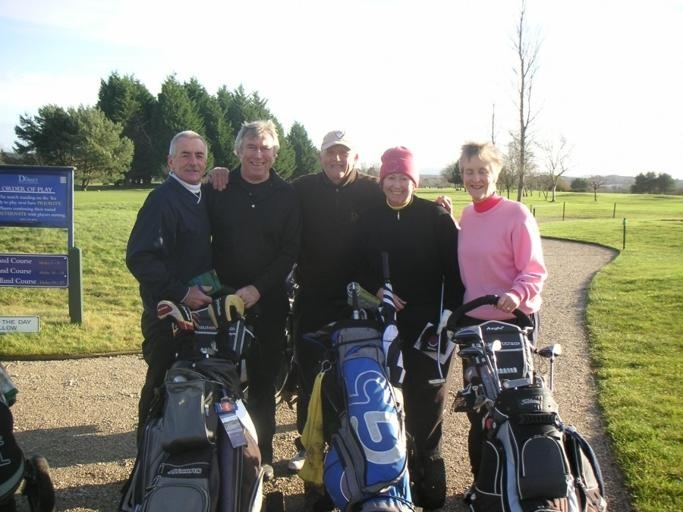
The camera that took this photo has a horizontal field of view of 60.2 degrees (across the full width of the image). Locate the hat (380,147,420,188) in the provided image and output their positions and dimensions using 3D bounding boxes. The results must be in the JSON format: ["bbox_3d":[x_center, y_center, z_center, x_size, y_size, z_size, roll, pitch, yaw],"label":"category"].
[{"bbox_3d":[0.544,-0.873,5.614,0.264,0.333,0.322,9,-9,0],"label":"hat"}]

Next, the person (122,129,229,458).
[{"bbox_3d":[-1.609,0.239,5.486,0.803,2.873,0.849,0,5,-22],"label":"person"}]

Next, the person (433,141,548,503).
[{"bbox_3d":[1.418,0.551,5.342,0.832,3.163,0.814,3,5,19],"label":"person"}]

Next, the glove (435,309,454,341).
[{"bbox_3d":[0.960,0.622,5.381,0.061,0.247,0.159,1,0,28],"label":"glove"}]

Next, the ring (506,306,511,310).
[{"bbox_3d":[1.413,0.438,4.891,0.050,0.037,0.012,3,5,15],"label":"ring"}]
